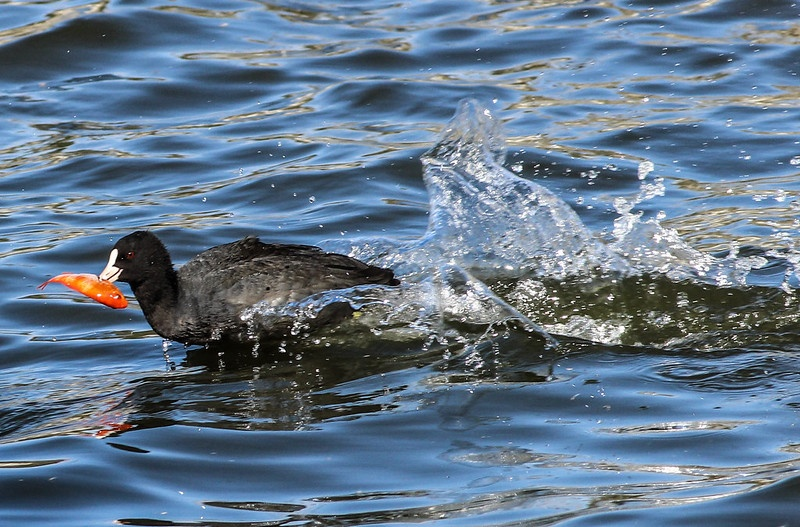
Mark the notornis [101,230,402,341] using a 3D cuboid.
[{"bbox_3d":[-1.567,0.221,9.172,2.530,1.091,0.688,-2,6,-10],"label":"notornis"}]
